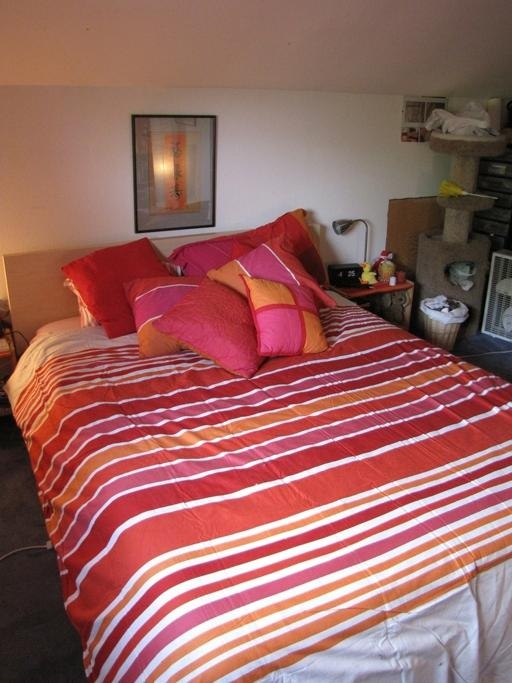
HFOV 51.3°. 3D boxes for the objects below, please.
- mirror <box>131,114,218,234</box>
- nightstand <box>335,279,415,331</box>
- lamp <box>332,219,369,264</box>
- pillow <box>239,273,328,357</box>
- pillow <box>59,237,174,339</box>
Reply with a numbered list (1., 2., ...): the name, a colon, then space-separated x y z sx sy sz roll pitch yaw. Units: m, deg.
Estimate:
1. mirror: -0.445 -0.908 2.892 0.522 0.605 0.020 7 15 24
2. nightstand: 0.724 -0.239 3.292 0.314 0.271 0.199 -14 35 -25
3. lamp: 0.630 -0.694 3.646 0.250 0.339 0.104 -7 47 -1
4. pillow: 0.079 -0.117 2.300 0.387 0.333 0.120 -3 -23 -38
5. pillow: -0.635 -0.372 2.671 0.578 0.515 0.155 -33 65 -27
